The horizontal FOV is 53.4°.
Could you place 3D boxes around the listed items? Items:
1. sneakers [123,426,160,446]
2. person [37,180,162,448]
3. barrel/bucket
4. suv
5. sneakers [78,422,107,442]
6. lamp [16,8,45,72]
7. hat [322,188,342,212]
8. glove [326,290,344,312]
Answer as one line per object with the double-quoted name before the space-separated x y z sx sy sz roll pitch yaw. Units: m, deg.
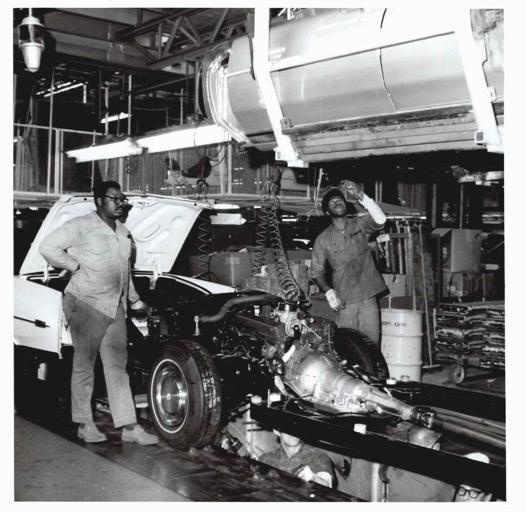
"sneakers" -1.040 1.514 4.443 0.288 0.131 0.133 3 2 17
"person" -1.424 0.452 4.517 0.838 2.244 0.480 -1 1 -8
"barrel/bucket" 1.576 1.034 5.981 0.560 0.843 0.544 1 -3 0
"suv" -0.866 0.472 5.083 2.226 1.930 3.945 -2 4 -38
"sneakers" -1.452 1.494 4.451 0.255 0.114 0.128 1 -2 36
"lamp" -2.315 -2.233 5.221 0.223 0.692 0.216 -3 3 -35
"hat" 0.694 -0.586 5.268 0.171 0.147 0.225 3 -36 -3
"glove" 0.710 0.431 5.087 0.081 0.228 0.159 -33 26 -32
